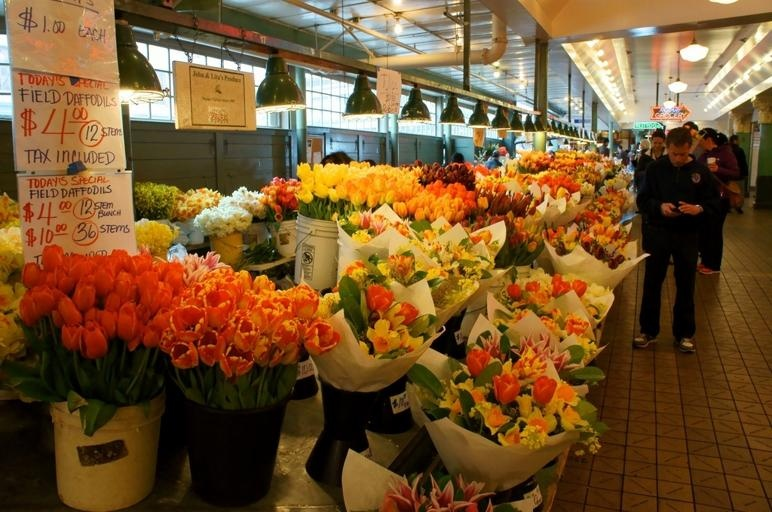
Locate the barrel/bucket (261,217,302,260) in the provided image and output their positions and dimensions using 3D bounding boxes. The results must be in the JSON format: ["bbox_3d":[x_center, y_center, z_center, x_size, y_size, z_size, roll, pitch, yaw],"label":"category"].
[{"bbox_3d":[-0.800,-0.127,3.905,0.312,0.321,0.315,-2,0,0],"label":"barrel/bucket"}]

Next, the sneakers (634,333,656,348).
[{"bbox_3d":[2.291,0.745,4.475,0.100,0.109,0.256,-2,-4,27],"label":"sneakers"}]

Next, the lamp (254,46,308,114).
[{"bbox_3d":[-0.668,-1.160,3.388,0.348,0.340,0.338,-1,21,4],"label":"lamp"}]

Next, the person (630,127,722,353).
[{"bbox_3d":[2.419,-0.105,4.261,0.603,1.897,0.515,7,15,32],"label":"person"}]

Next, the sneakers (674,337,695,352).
[{"bbox_3d":[2.624,0.782,4.420,0.086,0.086,0.202,-1,-15,18],"label":"sneakers"}]

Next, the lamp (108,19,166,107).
[{"bbox_3d":[-1.216,-0.939,2.485,0.187,0.396,0.695,-7,15,-22],"label":"lamp"}]
